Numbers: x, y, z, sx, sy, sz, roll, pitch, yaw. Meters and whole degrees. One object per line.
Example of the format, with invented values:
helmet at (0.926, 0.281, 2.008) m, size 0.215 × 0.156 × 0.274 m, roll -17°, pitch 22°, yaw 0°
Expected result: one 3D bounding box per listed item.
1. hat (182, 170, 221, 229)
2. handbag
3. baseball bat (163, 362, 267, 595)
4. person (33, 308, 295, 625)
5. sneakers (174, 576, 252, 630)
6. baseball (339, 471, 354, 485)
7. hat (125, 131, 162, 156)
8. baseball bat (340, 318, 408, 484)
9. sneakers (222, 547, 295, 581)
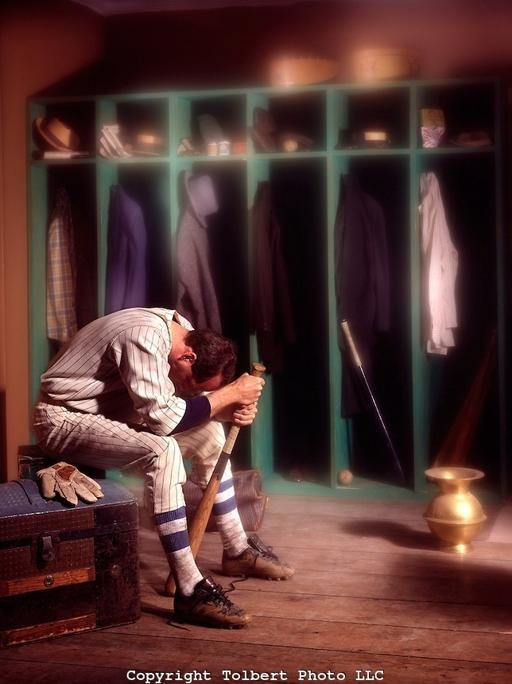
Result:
hat at (-0.325, -0.802, 3.857) m, size 0.171 × 0.307 × 0.189 m, roll -1°, pitch 1°, yaw 9°
handbag at (-0.071, 0.724, 3.084) m, size 0.390 × 0.327 × 0.129 m, roll 1°, pitch 3°, yaw -9°
baseball bat at (-0.158, 0.517, 2.500) m, size 0.120 × 0.900 × 0.082 m, roll 29°, pitch -17°, yaw -16°
person at (-0.290, 0.395, 2.401) m, size 1.005 × 0.939 × 0.779 m, roll 10°, pitch -1°, yaw -11°
sneakers at (-0.139, 0.812, 2.179) m, size 0.273 × 0.126 × 0.110 m, roll 2°, pitch 5°, yaw 22°
baseball at (0.500, 0.748, 3.805) m, size 0.086 × 0.072 × 0.081 m, roll 7°, pitch -10°, yaw -20°
hat at (-0.648, -1.141, 3.946) m, size 0.217 × 0.184 × 0.048 m, roll 2°, pitch 36°, yaw -12°
baseball bat at (0.681, 0.312, 3.971) m, size 0.074 × 1.003 × 0.133 m, roll -30°, pitch 6°, yaw -24°
sneakers at (0.003, 0.828, 2.597) m, size 0.281 × 0.119 × 0.106 m, roll 3°, pitch -1°, yaw 3°
